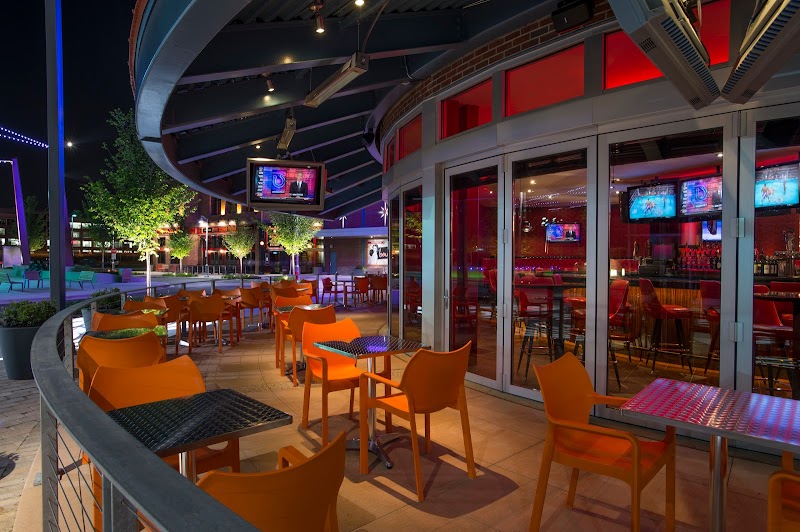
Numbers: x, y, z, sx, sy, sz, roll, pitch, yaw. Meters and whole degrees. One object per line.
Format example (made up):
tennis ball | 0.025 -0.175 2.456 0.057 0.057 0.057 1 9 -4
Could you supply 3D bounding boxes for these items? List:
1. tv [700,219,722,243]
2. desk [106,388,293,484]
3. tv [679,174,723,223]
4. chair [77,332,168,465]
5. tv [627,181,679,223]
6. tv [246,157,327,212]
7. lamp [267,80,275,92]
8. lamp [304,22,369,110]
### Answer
tv | 3.256 -0.364 5.586 0.029 0.292 0.223 5 -9 -35
desk | -1.471 1.134 3.890 0.897 0.874 0.881 -3 7 -42
tv | 3.205 -0.716 5.668 0.060 0.523 0.544 -2 0 -38
chair | -2.703 1.040 5.157 0.551 0.662 0.655 -4 -5 13
tv | 2.824 -0.713 5.927 0.475 0.411 0.066 0 2 30
tv | -2.173 -1.682 10.250 1.714 1.245 0.885 2 4 -10
lamp | -1.940 -2.713 8.032 0.132 0.147 0.130 -11 14 -34
lamp | -0.834 -2.569 7.103 0.379 0.388 1.670 3 -8 -28
